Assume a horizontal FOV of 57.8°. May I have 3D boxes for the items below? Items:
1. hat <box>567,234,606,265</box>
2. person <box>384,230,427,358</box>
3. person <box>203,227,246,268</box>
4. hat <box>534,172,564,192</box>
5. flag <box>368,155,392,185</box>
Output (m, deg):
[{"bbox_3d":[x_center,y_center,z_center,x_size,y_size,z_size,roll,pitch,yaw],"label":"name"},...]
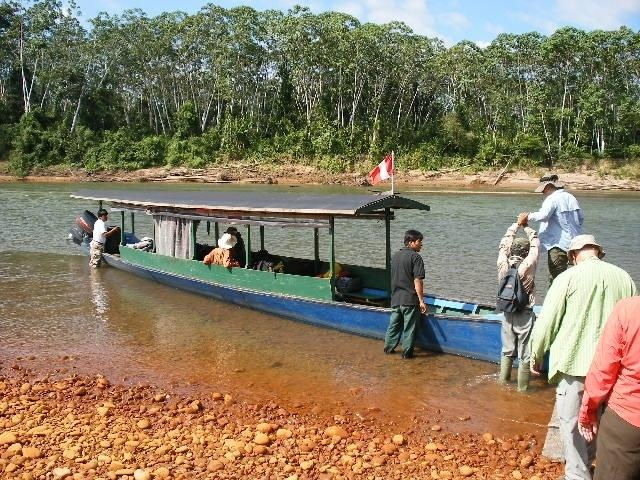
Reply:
[{"bbox_3d":[2.594,0.031,5.741,0.386,0.165,0.379,-11,-31,16],"label":"hat"},{"bbox_3d":[1.468,0.960,9.837,0.634,2.222,0.637,-3,15,-9],"label":"person"},{"bbox_3d":[-2.126,0.185,13.555,0.742,0.511,1.374,9,12,7],"label":"person"},{"bbox_3d":[3.701,-0.959,9.605,0.527,0.212,0.460,-6,1,29],"label":"hat"},{"bbox_3d":[1.691,-1.970,15.855,0.128,0.709,0.963,-4,1,-32],"label":"flag"}]
